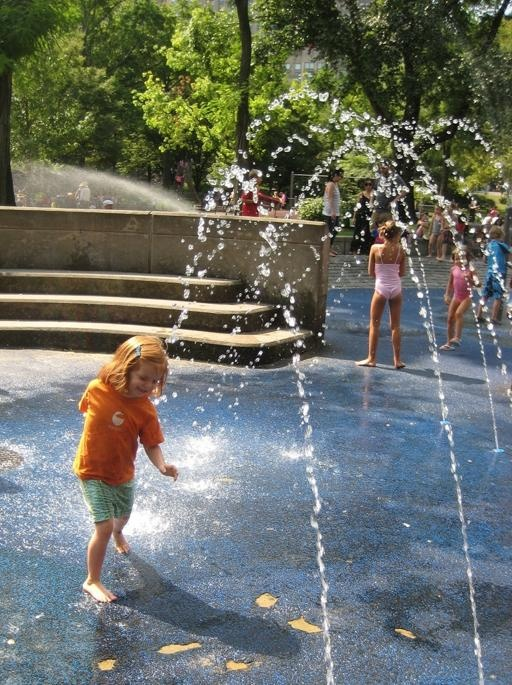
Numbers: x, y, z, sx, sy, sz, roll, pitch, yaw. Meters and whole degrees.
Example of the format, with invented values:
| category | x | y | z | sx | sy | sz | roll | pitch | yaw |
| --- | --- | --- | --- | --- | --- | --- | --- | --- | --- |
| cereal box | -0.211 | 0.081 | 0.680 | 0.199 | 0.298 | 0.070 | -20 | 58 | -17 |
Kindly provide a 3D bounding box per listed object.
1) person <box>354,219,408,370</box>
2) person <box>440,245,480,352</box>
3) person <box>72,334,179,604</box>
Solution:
| category | x | y | z | sx | sy | sz | roll | pitch | yaw |
| --- | --- | --- | --- | --- | --- | --- | --- | --- | --- |
| person | 1.630 | -0.582 | 7.750 | 0.560 | 1.758 | 0.780 | 7 | 12 | 13 |
| person | 2.968 | -0.652 | 9.237 | 0.376 | 1.448 | 1.161 | 7 | 12 | 17 |
| person | -0.585 | 0.537 | 2.786 | 0.412 | 1.161 | 0.534 | 1 | 12 | -14 |
